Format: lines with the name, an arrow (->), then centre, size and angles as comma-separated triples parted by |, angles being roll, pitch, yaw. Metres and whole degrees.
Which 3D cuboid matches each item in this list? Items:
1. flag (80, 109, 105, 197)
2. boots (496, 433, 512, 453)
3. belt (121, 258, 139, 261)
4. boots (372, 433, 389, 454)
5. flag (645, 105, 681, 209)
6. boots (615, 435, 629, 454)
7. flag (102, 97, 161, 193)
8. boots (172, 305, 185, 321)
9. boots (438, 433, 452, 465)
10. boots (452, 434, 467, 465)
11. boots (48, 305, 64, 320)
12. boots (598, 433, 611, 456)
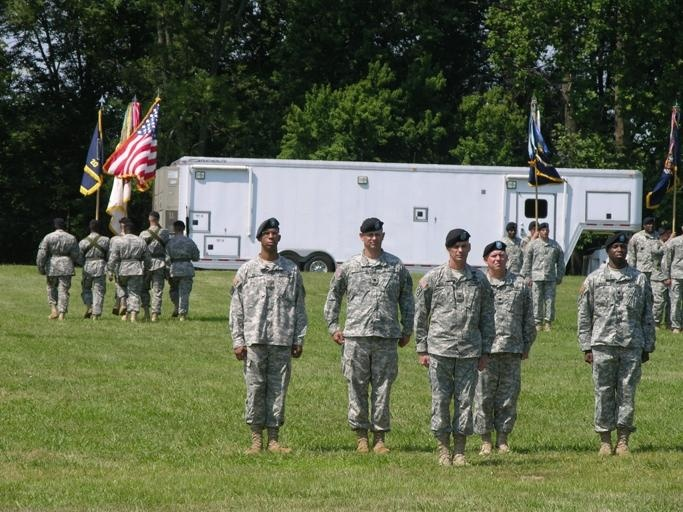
flag -> -8.240, -3.391, 59.143 | 0.633, 2.775, 3.122 | 1, 2, -9
boots -> 3.982, 4.598, 43.538 | 0.322, 0.484, 0.336 | 1, 2, -1
belt -> -6.107, 0.145, 51.678 | 0.386, 0.063, 0.031 | 1, 2, -5
boots -> 0.997, 4.585, 43.405 | 0.380, 0.515, 0.298 | 1, 2, 1
flag -> 12.065, -3.644, 66.473 | 0.844, 4.377, 0.999 | -1, 11, -17
boots -> 6.897, 4.606, 43.493 | 0.326, 0.476, 0.486 | 1, 2, 10
flag -> -6.718, -3.249, 57.457 | 1.383, 3.549, 1.457 | 2, 8, 25
boots -> -4.769, 1.727, 52.592 | 0.406, 0.456, 0.259 | 5, 7, 20
boots -> 2.519, 4.699, 43.031 | 0.348, 0.740, 0.385 | 1, 2, 2
boots -> 2.869, 4.696, 42.989 | 0.326, 0.740, 0.359 | 1, 2, 4
boots -> -8.305, 1.711, 51.939 | 0.276, 0.517, 0.526 | 4, -2, -22
boots -> 6.475, 4.600, 43.404 | 0.292, 0.545, 0.367 | 1, 2, 9
